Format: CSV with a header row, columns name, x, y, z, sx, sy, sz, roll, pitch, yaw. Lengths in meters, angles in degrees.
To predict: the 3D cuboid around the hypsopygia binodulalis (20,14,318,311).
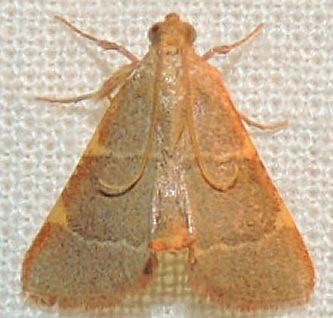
name,x,y,z,sx,sy,sz,roll,pitch,yaw
hypsopygia binodulalis,0.002,0.031,1.543,0.426,0.148,0.673,-2,91,3
